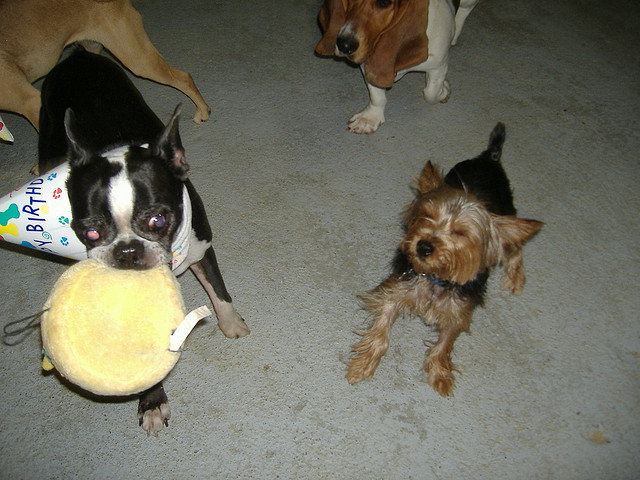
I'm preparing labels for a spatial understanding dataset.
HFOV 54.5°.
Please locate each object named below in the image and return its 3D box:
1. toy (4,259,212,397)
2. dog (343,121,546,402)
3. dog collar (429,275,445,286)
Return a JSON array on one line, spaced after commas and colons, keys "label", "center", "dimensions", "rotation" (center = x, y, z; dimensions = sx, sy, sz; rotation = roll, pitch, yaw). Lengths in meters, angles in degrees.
[{"label": "toy", "center": [-1.116, 0.475, 3.508], "dimensions": [0.879, 0.350, 0.782], "rotation": [17, 81, 5]}, {"label": "dog", "center": [1.003, -0.154, 4.950], "dimensions": [1.053, 1.271, 2.239], "rotation": [30, 64, 12]}, {"label": "dog collar", "center": [0.869, 0.299, 4.607], "dimensions": [0.077, 0.078, 0.022], "rotation": [34, 82, 0]}]
